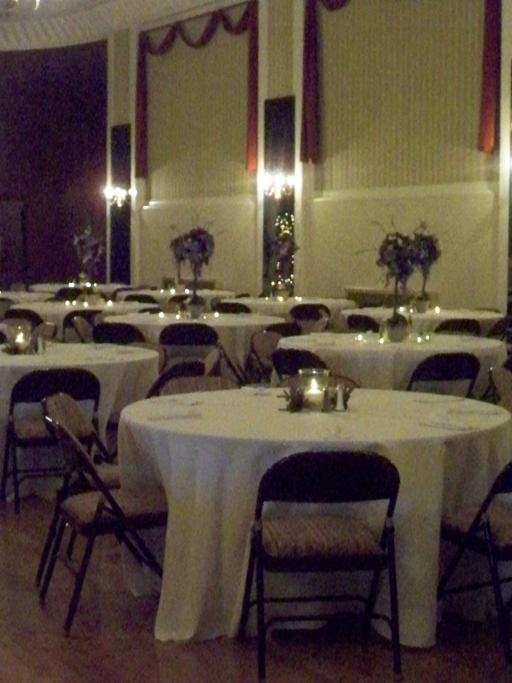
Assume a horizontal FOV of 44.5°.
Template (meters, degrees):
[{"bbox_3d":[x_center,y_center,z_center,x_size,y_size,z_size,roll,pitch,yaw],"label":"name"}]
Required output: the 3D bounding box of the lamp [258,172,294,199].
[{"bbox_3d":[0.412,-2.937,11.776,0.091,0.503,0.746,-9,13,-44],"label":"lamp"}]

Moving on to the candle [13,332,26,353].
[{"bbox_3d":[-1.395,0.003,3.716,0.069,0.200,0.087,0,2,-12],"label":"candle"}]

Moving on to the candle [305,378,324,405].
[{"bbox_3d":[0.203,0.174,2.187,0.059,0.109,0.072,2,0,-19],"label":"candle"}]

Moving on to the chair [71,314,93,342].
[{"bbox_3d":[-1.676,-0.113,6.067,0.154,0.310,0.388,-4,11,-13],"label":"chair"}]

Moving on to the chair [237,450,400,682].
[{"bbox_3d":[0.162,0.530,1.624,0.428,0.686,0.418,-2,10,-4],"label":"chair"}]

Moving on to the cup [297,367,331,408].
[{"bbox_3d":[0.197,0.156,2.194,0.084,0.160,0.108,0,-3,13],"label":"cup"}]

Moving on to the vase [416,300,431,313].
[{"bbox_3d":[1.666,-0.359,6.217,0.187,0.136,0.100,-11,14,-37],"label":"vase"}]

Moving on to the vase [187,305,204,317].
[{"bbox_3d":[-0.597,-0.295,6.154,0.100,0.106,0.100,-2,2,-44],"label":"vase"}]

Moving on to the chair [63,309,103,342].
[{"bbox_3d":[-1.728,-0.183,6.264,0.247,0.418,0.229,8,8,43],"label":"chair"}]

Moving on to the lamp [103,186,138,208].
[{"bbox_3d":[-3.204,-3.418,14.753,1.042,0.524,0.251,7,12,37],"label":"lamp"}]
